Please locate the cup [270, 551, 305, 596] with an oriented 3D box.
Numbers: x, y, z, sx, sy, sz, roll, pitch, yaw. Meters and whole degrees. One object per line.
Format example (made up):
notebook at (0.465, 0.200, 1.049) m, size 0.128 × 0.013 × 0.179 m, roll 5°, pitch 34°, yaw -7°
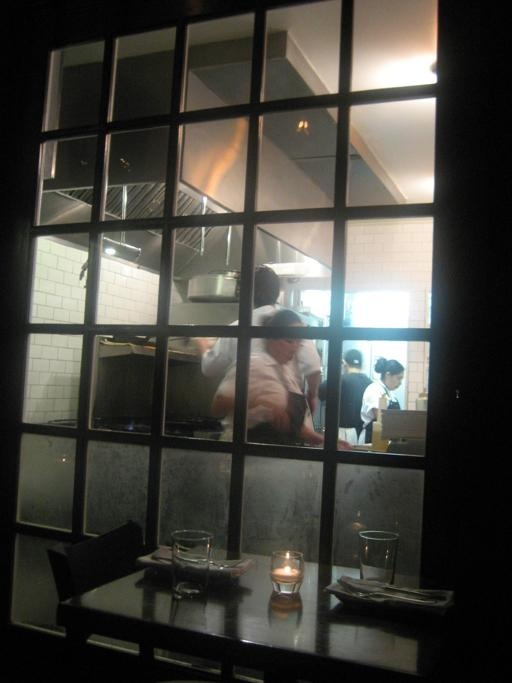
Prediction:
cup at (0.058, 0.439, 1.254) m, size 0.063 × 0.072 × 0.066 m, roll -1°, pitch -8°, yaw 0°
